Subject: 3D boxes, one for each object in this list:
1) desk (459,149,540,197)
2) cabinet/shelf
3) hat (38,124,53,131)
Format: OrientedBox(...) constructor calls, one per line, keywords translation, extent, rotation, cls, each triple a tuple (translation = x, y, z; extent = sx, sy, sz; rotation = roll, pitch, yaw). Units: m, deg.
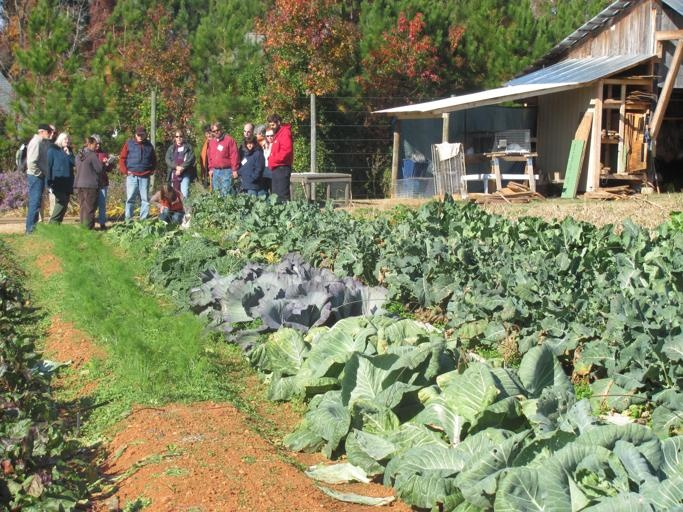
OrientedBox(translation=(4.270, -1.827, 18.419), extent=(1.767, 1.476, 2.023), rotation=(2, 13, 13), cls="desk")
OrientedBox(translation=(6.933, -3.165, 18.080), extent=(1.606, 2.459, 1.848), rotation=(-1, 2, 6), cls="cabinet/shelf")
OrientedBox(translation=(-5.198, -2.241, 12.747), extent=(0.133, 0.083, 0.209), rotation=(3, 10, 5), cls="hat")
